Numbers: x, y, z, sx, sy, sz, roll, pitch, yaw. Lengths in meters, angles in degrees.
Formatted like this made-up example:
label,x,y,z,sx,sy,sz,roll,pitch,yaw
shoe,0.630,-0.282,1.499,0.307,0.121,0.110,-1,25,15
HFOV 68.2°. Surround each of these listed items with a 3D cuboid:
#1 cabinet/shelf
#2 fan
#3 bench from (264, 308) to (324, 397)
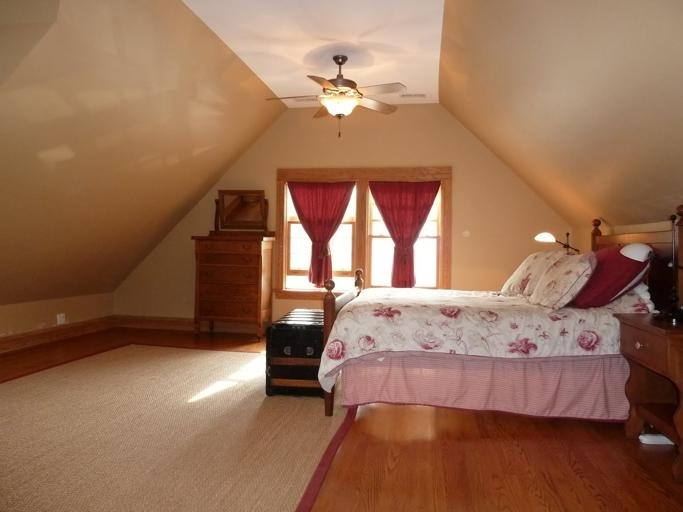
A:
label,x,y,z,sx,sy,sz,roll,pitch,yaw
cabinet/shelf,-1.353,0.342,6.457,0.985,1.261,0.557,1,1,9
fan,0.014,-1.575,4.663,1.005,0.445,1.082,-12,16,-10
bench,-0.341,0.890,4.661,0.545,0.619,0.955,1,-2,4
